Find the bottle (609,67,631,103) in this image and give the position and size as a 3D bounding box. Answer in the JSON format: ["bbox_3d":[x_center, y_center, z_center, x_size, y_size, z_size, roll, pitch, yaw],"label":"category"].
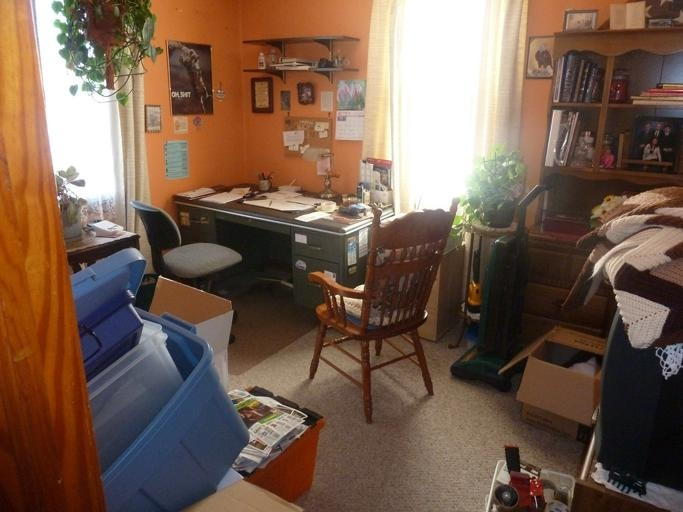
[{"bbox_3d":[1.576,-0.961,2.887,0.100,0.182,0.228,8,22,28],"label":"bottle"}]

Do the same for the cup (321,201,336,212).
[{"bbox_3d":[-0.088,-0.361,3.658,0.082,0.042,0.076,1,15,0],"label":"cup"}]

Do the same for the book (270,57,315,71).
[{"bbox_3d":[-0.370,-1.468,3.917,0.396,0.101,0.173,14,25,40],"label":"book"}]

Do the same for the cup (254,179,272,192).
[{"bbox_3d":[-0.657,-0.600,4.321,0.113,0.089,0.104,1,13,0],"label":"cup"}]

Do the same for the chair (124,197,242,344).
[{"bbox_3d":[-1.037,0.090,3.602,0.726,1.048,0.612,-16,24,-42],"label":"chair"}]

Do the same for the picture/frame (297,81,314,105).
[{"bbox_3d":[-0.290,-1.293,4.072,0.159,0.168,0.049,5,13,29],"label":"picture/frame"}]

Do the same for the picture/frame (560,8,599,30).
[{"bbox_3d":[1.371,-1.358,2.925,0.182,0.139,0.014,6,11,25],"label":"picture/frame"}]

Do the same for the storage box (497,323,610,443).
[{"bbox_3d":[1.024,0.594,2.596,0.541,0.295,0.555,10,26,39],"label":"storage box"}]

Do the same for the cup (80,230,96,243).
[{"bbox_3d":[-1.492,-0.117,3.013,0.079,0.088,0.081,0,7,0],"label":"cup"}]

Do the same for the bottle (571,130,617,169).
[{"bbox_3d":[1.462,-0.621,2.974,0.279,0.284,0.160,4,12,29],"label":"bottle"}]

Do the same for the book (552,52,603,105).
[{"bbox_3d":[1.338,-0.999,2.904,0.276,0.307,0.071,3,19,22],"label":"book"}]

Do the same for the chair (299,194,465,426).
[{"bbox_3d":[0.184,0.251,2.756,0.715,1.076,0.683,12,18,39],"label":"chair"}]

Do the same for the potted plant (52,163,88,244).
[{"bbox_3d":[-1.667,-0.370,3.164,0.163,0.408,0.596,-12,21,-25],"label":"potted plant"}]

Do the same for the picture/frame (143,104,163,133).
[{"bbox_3d":[-1.408,-1.023,3.788,0.033,0.274,0.200,8,16,25],"label":"picture/frame"}]

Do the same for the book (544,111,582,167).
[{"bbox_3d":[1.293,-0.694,3.014,0.064,0.286,0.275,-4,22,-19],"label":"book"}]
